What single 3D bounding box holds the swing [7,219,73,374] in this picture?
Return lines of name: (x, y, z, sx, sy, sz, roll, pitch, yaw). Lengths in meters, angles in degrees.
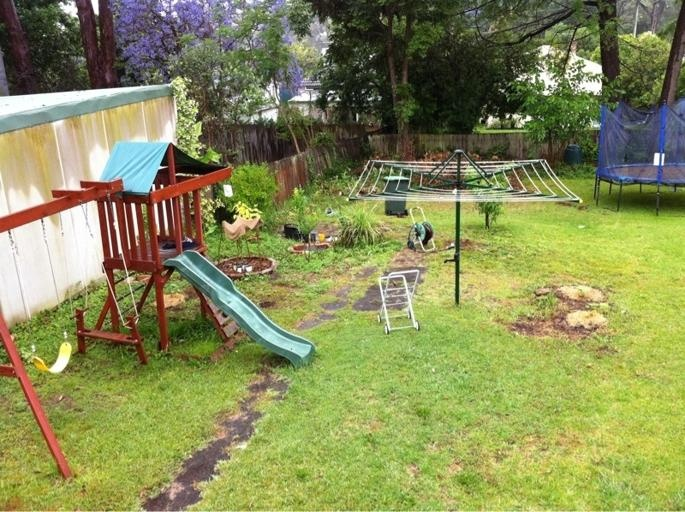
swing: (-4.917, 0.770, 9.231, 0.744, 2.319, 4.389, -9, 17, -30)
